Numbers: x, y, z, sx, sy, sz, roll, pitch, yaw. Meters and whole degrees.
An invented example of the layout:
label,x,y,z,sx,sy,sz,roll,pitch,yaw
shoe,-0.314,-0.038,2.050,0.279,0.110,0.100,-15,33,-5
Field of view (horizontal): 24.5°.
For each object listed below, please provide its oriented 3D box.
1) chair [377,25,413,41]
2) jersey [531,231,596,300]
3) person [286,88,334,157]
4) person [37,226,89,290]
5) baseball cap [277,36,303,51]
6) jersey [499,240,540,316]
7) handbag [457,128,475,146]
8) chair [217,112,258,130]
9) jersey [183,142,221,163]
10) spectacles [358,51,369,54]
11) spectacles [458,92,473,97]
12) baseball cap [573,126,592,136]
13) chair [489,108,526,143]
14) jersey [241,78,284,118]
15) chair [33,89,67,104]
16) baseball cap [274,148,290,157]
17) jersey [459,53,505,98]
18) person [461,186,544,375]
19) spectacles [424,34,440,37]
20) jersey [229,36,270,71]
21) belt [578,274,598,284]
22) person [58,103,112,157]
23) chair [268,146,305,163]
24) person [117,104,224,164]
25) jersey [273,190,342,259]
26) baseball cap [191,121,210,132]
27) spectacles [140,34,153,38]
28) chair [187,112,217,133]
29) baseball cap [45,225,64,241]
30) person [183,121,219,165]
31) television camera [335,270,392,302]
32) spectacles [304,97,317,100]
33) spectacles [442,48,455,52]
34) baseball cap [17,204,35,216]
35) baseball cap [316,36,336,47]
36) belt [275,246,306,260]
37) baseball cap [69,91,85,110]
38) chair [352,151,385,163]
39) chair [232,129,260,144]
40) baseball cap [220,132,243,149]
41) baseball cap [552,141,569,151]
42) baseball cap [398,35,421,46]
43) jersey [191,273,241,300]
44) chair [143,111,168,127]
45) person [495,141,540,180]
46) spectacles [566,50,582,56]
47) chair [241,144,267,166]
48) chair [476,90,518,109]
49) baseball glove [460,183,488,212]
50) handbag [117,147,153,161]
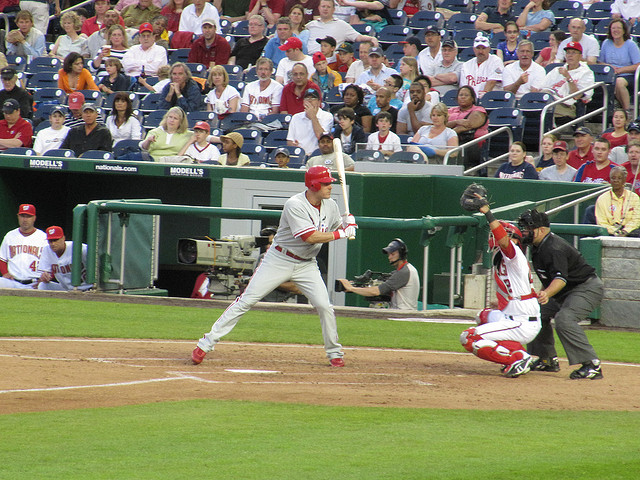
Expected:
label,x,y,z,sx,sy,sz,roll,pitch,yaw
chair,1.450,-3.908,27.876,0.514,0.385,0.377,3,14,16
jersey,3.028,0.370,18.278,0.742,0.859,0.407,3,13,7
person,-0.137,-1.932,24.427,0.769,1.111,0.479,2,13,-2
person,-3.980,0.322,22.753,0.806,1.024,0.424,1,13,-7
baseball cap,-0.510,-3.448,25.924,0.432,0.169,0.242,-3,23,2
jersey,2.476,0.496,18.060,0.540,0.949,0.187,3,13,5
handbag,2.455,-1.706,24.427,0.326,0.198,0.226,7,4,8
chair,-1.431,-2.027,25.235,0.416,0.433,0.419,-1,3,7
jersey,-2.003,-1.383,24.594,0.694,0.404,0.317,0,-2,2
spectacles,0.787,-3.292,25.872,0.168,0.050,0.041,12,15,43
spectacles,2.438,-2.396,24.388,0.210,0.078,0.060,2,12,1
baseball cap,4.193,-1.698,23.113,0.211,0.085,0.298,-3,-2,29
chair,3.194,-1.943,24.536,0.574,0.454,0.477,2,3,32
jersey,-1.012,-2.481,25.593,0.724,0.614,0.374,2,12,1
chair,-4.932,-2.613,26.860,0.480,0.380,0.319,2,3,7
baseball cap,-0.609,-1.421,24.146,0.239,0.133,0.206,1,11,-2
jersey,2.815,-2.793,25.471,0.801,0.747,0.536,0,3,27
person,2.347,0.578,18.429,1.134,2.151,1.513,4,-2,11
spectacles,2.014,-3.643,26.252,0.199,0.051,0.088,4,11,13
jersey,-1.325,-3.494,27.563,0.703,0.590,0.498,2,12,-1
belt,3.360,0.511,18.376,0.143,0.091,0.148,-2,4,43
person,-3.901,-1.849,24.781,0.680,0.936,0.959,-8,16,-40
chair,-0.511,-1.385,24.277,0.458,0.349,0.347,0,-1,7
person,-2.646,-1.810,24.801,1.331,1.390,1.302,4,0,9
jersey,-0.115,-0.156,18.034,0.814,0.817,0.504,-3,13,-22
baseball cap,-1.942,-1.849,24.287,0.239,0.175,0.300,0,11,-7
spectacles,-3.203,-3.750,27.060,0.221,0.065,0.044,4,12,13
chair,-2.032,-1.994,25.227,0.426,0.462,0.463,5,13,13
baseball cap,-4.094,-0.079,22.688,0.232,0.217,0.347,-1,11,-12
person,-1.953,-1.613,24.450,0.606,0.699,0.510,0,12,-12
television camera,0.685,0.724,22.328,1.048,0.412,0.271,6,9,-33
spectacles,-0.138,-2.311,24.128,0.199,0.038,0.018,3,13,8
spectacles,2.253,-3.312,25.726,0.154,0.053,0.047,2,12,1
baseball cap,-4.665,-0.453,23.311,0.228,0.157,0.317,1,11,-4
baseball cap,0.153,-3.633,26.704,0.359,0.116,0.212,16,-4,-24
belt,-0.342,0.149,18.014,0.223,0.045,0.195,24,-2,-23
baseball cap,-4.217,-2.438,25.450,0.248,0.158,0.323,2,34,0
chair,0.806,-1.344,23.861,0.520,0.186,0.108,4,13,12
chair,-1.256,-1.737,24.904,0.333,0.346,0.296,0,-2,0
baseball cap,-1.418,-1.635,24.232,0.342,0.156,0.222,20,-4,-17
baseball cap,3.802,-1.451,23.087,0.218,0.171,0.297,3,11,4
baseball cap,1.655,-3.643,26.761,0.436,0.174,0.246,0,3,0
jersey,-1.723,0.828,23.671,0.404,0.483,0.408,2,17,-15
chair,-2.873,-2.084,25.546,0.344,0.168,0.294,2,2,3
person,3.200,-1.254,23.889,0.818,0.591,0.429,5,5,29
spectacles,4.255,-3.098,24.459,0.218,0.074,0.122,-1,2,-28
chair,-1.085,-1.411,24.655,0.432,0.424,0.416,1,-1,2
chair,3.033,-2.337,24.930,0.455,0.459,0.390,1,4,20
baseball glove,1.855,-0.518,17.864,0.291,0.310,0.355,6,32,27
handbag,-3.148,-1.425,24.705,0.669,0.194,0.370,11,14,42
